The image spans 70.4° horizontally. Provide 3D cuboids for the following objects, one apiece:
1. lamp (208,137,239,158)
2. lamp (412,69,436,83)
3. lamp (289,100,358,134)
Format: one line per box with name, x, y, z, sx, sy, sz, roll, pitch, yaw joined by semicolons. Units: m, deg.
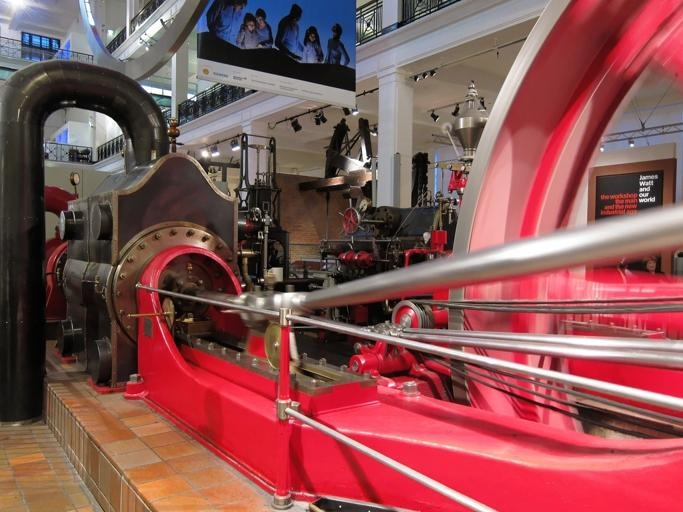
lamp;-4.272;-3.871;17.464;1.024;0.511;3.924;-1;7;-15
lamp;1.701;-3.737;9.985;0.494;0.235;0.851;2;7;10
lamp;-0.498;-3.712;13.056;1.072;0.491;3.200;-4;8;-34
